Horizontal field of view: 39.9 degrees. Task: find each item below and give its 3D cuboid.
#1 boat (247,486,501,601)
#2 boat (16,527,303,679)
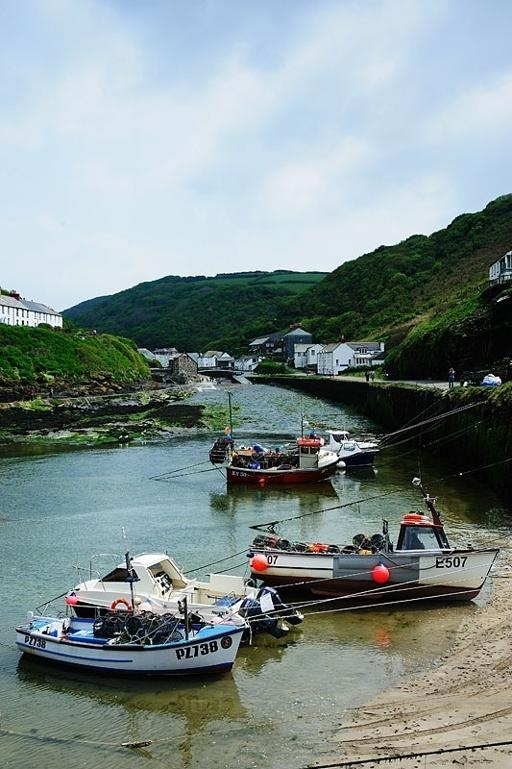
[{"bbox_3d":[2.834,4.169,16.929,6.212,2.886,2.466,-1,3,9],"label":"boat"},{"bbox_3d":[-2.093,4.506,13.354,3.835,1.254,2.840,-1,3,17],"label":"boat"}]
